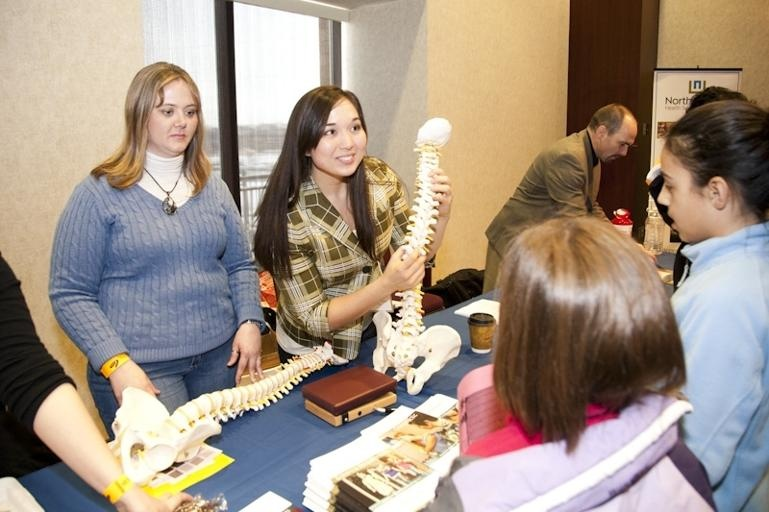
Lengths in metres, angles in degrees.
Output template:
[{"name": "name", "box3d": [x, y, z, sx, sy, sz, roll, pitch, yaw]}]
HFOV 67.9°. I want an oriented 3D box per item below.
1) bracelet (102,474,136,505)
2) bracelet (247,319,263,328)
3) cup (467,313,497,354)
[{"name": "bracelet", "box3d": [-0.762, 0.677, 1.651, 0.074, 0.019, 0.083, -33, 13, 31]}, {"name": "bracelet", "box3d": [-0.601, 0.320, 2.710, 0.047, 0.022, 0.042, 2, -2, 37]}, {"name": "cup", "box3d": [0.469, 0.368, 2.769, 0.158, 0.184, 0.161, -1, 13, 0]}]
